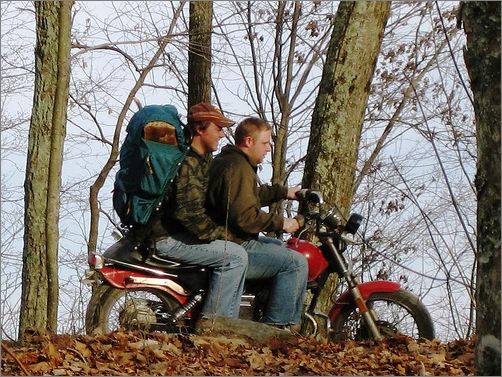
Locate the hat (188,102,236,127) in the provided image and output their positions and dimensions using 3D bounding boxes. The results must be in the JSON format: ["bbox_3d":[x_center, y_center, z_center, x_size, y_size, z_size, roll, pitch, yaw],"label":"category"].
[{"bbox_3d":[-0.439,-0.829,14.261,0.489,0.257,0.313,-1,-3,-5],"label":"hat"}]
